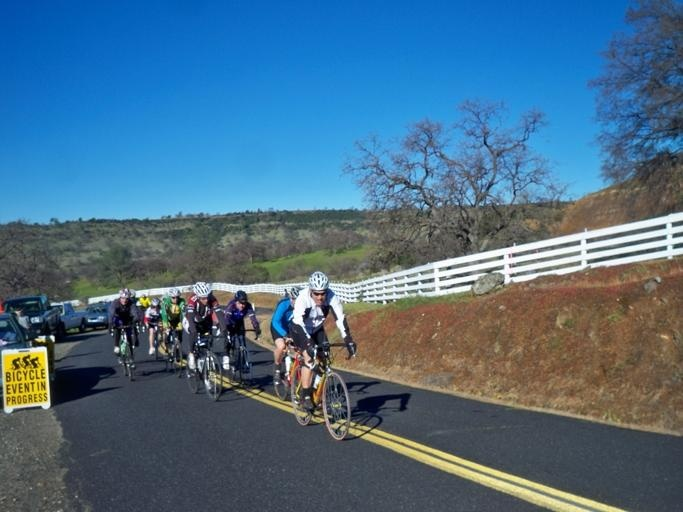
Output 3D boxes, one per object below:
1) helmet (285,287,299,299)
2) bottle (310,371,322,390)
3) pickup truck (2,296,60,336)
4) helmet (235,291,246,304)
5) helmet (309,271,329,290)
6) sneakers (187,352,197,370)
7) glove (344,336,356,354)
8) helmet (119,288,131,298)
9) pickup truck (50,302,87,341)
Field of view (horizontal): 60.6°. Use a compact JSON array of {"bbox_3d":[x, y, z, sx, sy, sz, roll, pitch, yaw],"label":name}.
[{"bbox_3d":[-1.090,0.741,12.949,0.251,0.367,0.336,9,-12,-35],"label":"helmet"},{"bbox_3d":[-0.511,2.402,11.469,0.207,0.442,0.262,-3,2,-4],"label":"bottle"},{"bbox_3d":[-11.943,2.294,22.524,1.178,1.235,2.758,-1,-9,-6],"label":"pickup truck"},{"bbox_3d":[-2.442,0.976,14.146,0.238,0.334,0.328,0,-8,-24],"label":"helmet"},{"bbox_3d":[-0.536,0.539,13.542,0.399,0.719,0.266,-2,-40,-5],"label":"helmet"},{"bbox_3d":[-3.683,2.574,14.342,0.213,0.436,0.094,1,3,39],"label":"sneakers"},{"bbox_3d":[0.200,1.705,10.910,0.095,0.339,0.207,-45,40,-22],"label":"glove"},{"bbox_3d":[-6.076,1.032,16.360,0.225,0.332,0.296,7,-3,-38],"label":"helmet"},{"bbox_3d":[-14.763,3.433,31.165,1.565,1.570,3.289,-1,-6,1],"label":"pickup truck"}]
